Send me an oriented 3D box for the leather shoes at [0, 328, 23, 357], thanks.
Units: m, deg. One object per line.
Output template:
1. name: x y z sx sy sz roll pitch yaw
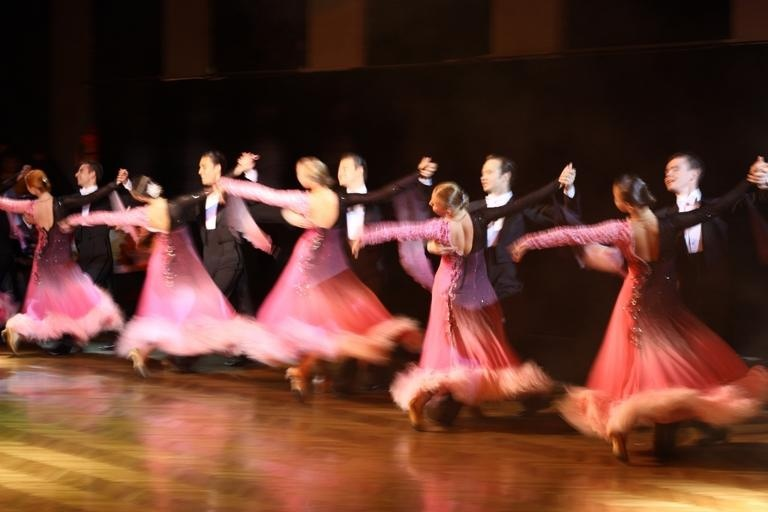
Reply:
1. leather shoes: -3.098 0.699 5.775 0.109 0.277 0.176 -14 -14 -20

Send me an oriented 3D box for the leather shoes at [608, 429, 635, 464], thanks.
1. leather shoes: 1.346 1.056 3.921 0.103 0.197 0.245 4 10 20

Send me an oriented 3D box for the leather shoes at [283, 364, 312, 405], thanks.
1. leather shoes: -0.592 0.898 4.863 0.108 0.244 0.207 -12 6 -37

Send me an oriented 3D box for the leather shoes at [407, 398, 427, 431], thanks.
1. leather shoes: 0.220 0.966 4.346 0.109 0.239 0.199 0 10 0

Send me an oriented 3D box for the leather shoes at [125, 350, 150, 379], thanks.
1. leather shoes: -1.849 0.820 5.246 0.062 0.238 0.165 -33 41 -30
